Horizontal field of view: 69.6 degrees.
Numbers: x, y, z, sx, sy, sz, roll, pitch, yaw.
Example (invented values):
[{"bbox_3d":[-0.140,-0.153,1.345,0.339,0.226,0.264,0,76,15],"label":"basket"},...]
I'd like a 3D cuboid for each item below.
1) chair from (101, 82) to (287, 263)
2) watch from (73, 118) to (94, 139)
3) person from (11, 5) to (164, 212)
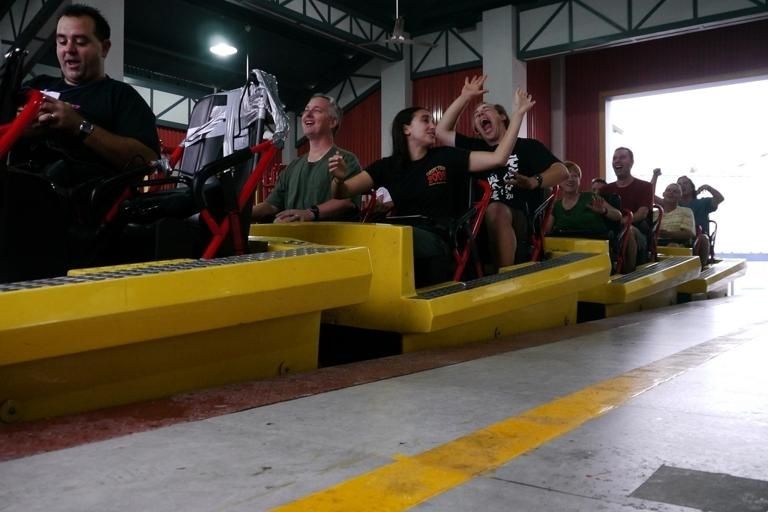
[{"bbox_3d":[-1.076,-0.446,2.949,0.972,1.078,0.935,-9,8,-30],"label":"chair"},{"bbox_3d":[-1.322,-0.559,2.427,0.075,0.083,0.056,-5,-20,38],"label":"watch"},{"bbox_3d":[-1.426,-0.754,2.650,0.617,1.019,0.775,-1,4,-22],"label":"person"}]
